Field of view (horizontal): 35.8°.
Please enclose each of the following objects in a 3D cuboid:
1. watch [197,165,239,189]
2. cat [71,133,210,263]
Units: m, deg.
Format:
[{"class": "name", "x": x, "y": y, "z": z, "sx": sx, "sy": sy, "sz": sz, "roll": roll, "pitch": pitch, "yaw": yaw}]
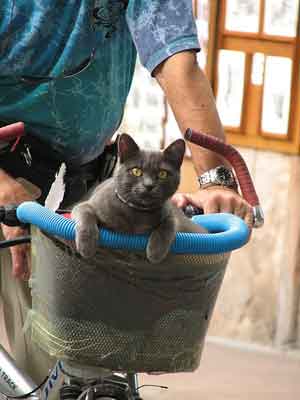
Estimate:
[{"class": "watch", "x": 0.162, "y": -0.055, "z": 1.104, "sx": 0.080, "sy": 0.053, "sz": 0.073, "roll": 0, "pitch": 5, "yaw": -11}, {"class": "cat", "x": -0.002, "y": -0.016, "z": 0.925, "sx": 0.278, "sy": 0.228, "sz": 0.285, "roll": 6, "pitch": 7, "yaw": -9}]
